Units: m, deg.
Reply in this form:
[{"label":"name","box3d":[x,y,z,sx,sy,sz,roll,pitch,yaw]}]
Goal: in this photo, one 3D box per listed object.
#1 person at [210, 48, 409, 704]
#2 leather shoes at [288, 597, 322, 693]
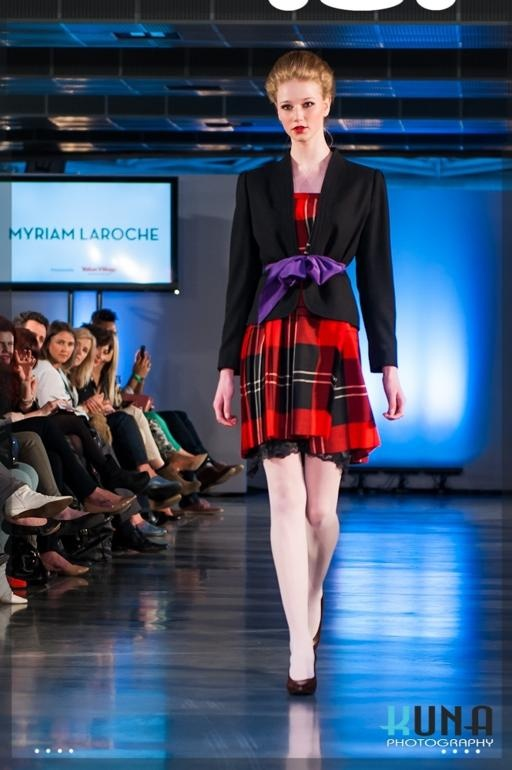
[{"label":"person","box3d":[0.116,-0.029,1.833,0.351,1.338,0.371,4,-9,-36]},{"label":"leather shoes","box3d":[0.096,0.549,1.731,0.045,0.152,0.068,4,8,10]}]
